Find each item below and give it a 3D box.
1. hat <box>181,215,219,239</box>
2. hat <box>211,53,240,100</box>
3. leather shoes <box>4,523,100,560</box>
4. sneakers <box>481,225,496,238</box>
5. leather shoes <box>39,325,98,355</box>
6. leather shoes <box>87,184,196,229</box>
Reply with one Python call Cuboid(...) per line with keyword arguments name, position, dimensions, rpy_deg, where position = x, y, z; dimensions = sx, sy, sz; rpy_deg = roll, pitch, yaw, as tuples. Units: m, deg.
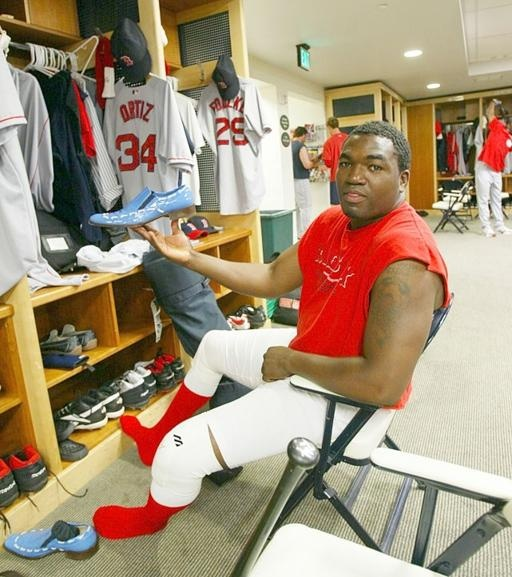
Cuboid(name="hat", position=(-0.383, -0.401, 2.848), dimensions=(0.169, 0.084, 0.239), rpy_deg=(-19, 14, -19))
Cuboid(name="hat", position=(-0.213, -1.484, 3.075), dimensions=(0.185, 0.274, 0.208), rpy_deg=(-6, 15, 1))
Cuboid(name="leather shoes", position=(-0.692, 0.869, 1.555), dimensions=(0.373, 0.121, 0.124), rpy_deg=(3, 12, -3))
Cuboid(name="sneakers", position=(4.145, -0.991, 7.725), dimensions=(0.179, 0.148, 0.382), rpy_deg=(-2, 5, 4))
Cuboid(name="leather shoes", position=(-0.882, 0.253, 2.056), dimensions=(0.182, 0.122, 0.227), rpy_deg=(-2, 14, 10))
Cuboid(name="leather shoes", position=(-0.380, -0.317, 1.781), dimensions=(0.529, 0.161, 0.171), rpy_deg=(-12, 13, -12))
